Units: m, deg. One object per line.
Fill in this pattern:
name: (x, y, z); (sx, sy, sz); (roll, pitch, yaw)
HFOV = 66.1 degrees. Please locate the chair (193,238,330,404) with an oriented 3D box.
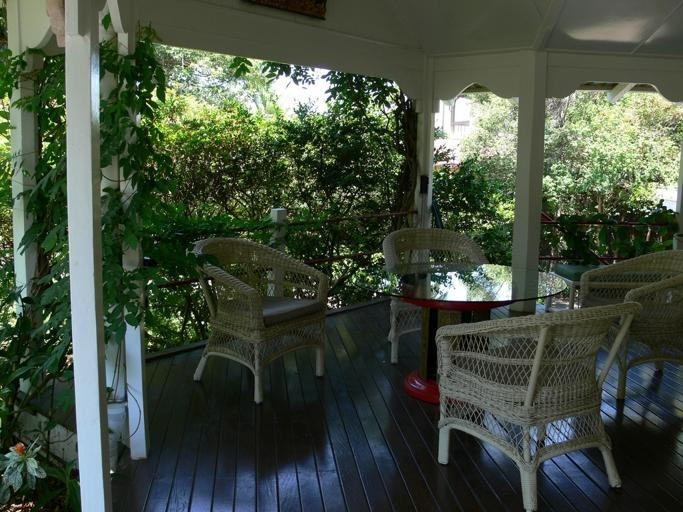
chair: (-0.631, 0.420, 3.896); (0.786, 1.070, 0.847); (5, 8, 36)

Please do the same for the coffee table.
coffee table: (0.667, 0.643, 3.724); (0.882, 0.630, 0.968); (12, -6, -24)

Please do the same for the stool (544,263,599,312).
stool: (2.244, 0.340, 5.487); (0.496, 0.470, 0.496); (9, -1, -40)

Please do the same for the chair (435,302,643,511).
chair: (1.013, 0.659, 2.812); (0.928, 1.007, 0.721); (-5, 14, -20)
